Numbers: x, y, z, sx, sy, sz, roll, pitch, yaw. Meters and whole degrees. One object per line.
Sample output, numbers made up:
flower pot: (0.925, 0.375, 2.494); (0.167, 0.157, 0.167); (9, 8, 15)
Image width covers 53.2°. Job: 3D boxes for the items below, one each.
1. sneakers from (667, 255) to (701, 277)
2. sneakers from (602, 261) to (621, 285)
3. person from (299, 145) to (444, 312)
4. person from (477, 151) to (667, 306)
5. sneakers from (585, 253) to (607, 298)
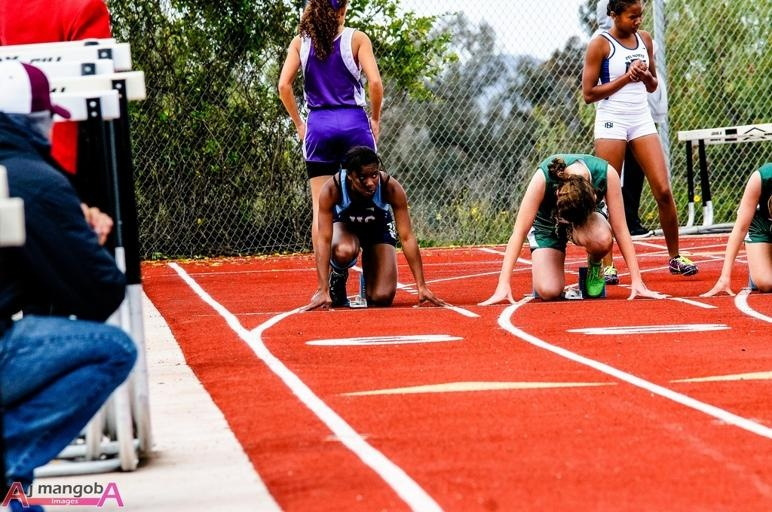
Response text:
sneakers: (2.342, 0.074, 6.101); (0.113, 0.126, 0.261); (-21, 12, -32)
sneakers: (1.767, 0.145, 6.059); (0.112, 0.147, 0.314); (-1, 0, 1)
person: (-0.014, -0.193, 5.136); (0.894, 1.097, 1.241); (1, 9, 10)
person: (1.198, -0.175, 5.334); (1.217, 0.957, 1.097); (-3, 8, -3)
sneakers: (1.454, 0.136, 5.321); (0.110, 0.316, 0.130); (-1, 0, 18)
